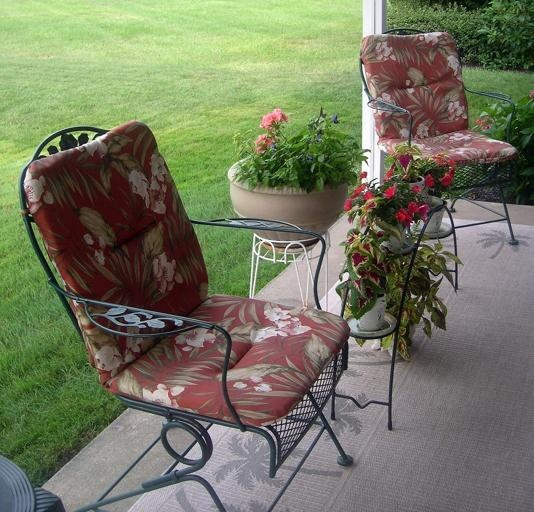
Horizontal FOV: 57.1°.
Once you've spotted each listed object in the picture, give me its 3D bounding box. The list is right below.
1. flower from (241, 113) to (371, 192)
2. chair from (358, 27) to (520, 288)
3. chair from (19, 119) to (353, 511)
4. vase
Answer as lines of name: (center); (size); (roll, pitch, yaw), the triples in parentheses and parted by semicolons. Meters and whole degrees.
flower: (0.145, -0.391, 1.996); (0.540, 0.237, 0.385); (1, 11, 4)
chair: (0.924, -0.614, 2.673); (0.787, 1.041, 0.797); (-27, 42, -29)
chair: (-0.166, 0.146, 1.203); (0.680, 0.868, 0.621); (5, 28, 16)
vase: (0.087, -0.203, 1.875); (0.427, 0.197, 0.370); (-1, 10, -8)
